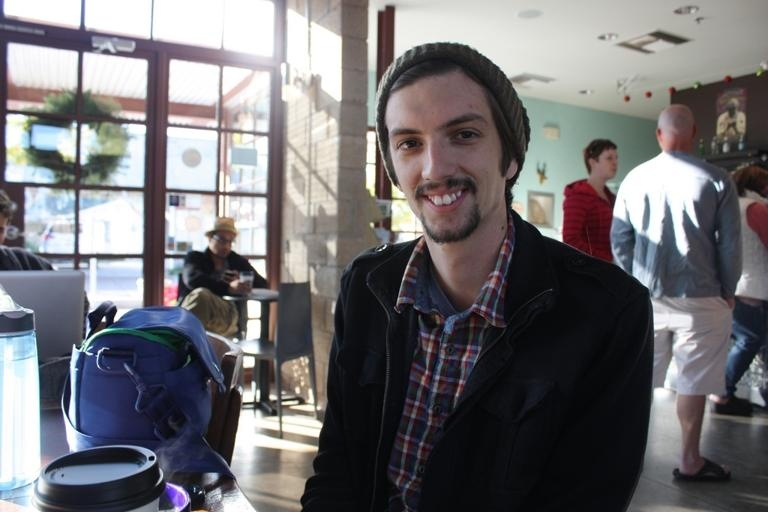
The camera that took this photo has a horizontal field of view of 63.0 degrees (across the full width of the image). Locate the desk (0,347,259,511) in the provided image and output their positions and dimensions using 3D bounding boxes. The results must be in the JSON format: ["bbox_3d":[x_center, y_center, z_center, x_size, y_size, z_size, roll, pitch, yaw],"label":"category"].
[{"bbox_3d":[-0.833,0.512,2.175,0.564,0.758,0.636,-9,-14,-4],"label":"desk"}]

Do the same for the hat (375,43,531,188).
[{"bbox_3d":[0.253,-0.438,2.015,0.377,0.213,0.463,7,-12,8],"label":"hat"}]

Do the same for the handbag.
[{"bbox_3d":[-0.803,0.418,2.196,0.441,0.582,0.527,-1,10,-2],"label":"handbag"}]

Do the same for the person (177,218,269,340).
[{"bbox_3d":[-1.412,0.377,5.301,0.714,1.461,0.808,6,-9,-11],"label":"person"}]

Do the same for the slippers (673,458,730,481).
[{"bbox_3d":[1.930,1.300,3.801,0.307,0.133,0.139,-1,-3,0],"label":"slippers"}]

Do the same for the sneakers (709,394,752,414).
[{"bbox_3d":[2.733,1.159,4.949,0.286,0.141,0.138,-1,0,4],"label":"sneakers"}]
